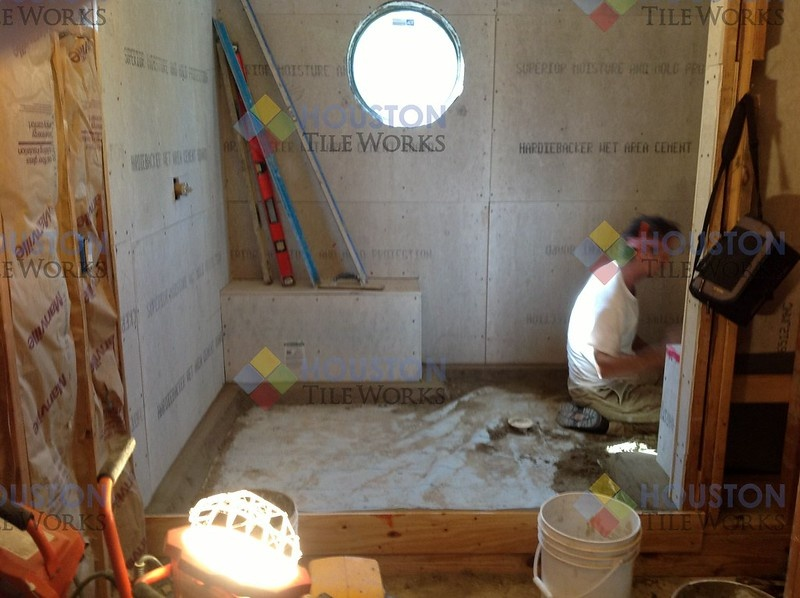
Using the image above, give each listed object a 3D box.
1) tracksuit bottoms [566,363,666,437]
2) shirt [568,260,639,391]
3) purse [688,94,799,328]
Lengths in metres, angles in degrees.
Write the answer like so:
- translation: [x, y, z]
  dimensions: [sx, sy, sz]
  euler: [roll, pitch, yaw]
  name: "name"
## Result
- translation: [1.418, 0.663, 4.556]
  dimensions: [0.389, 0.162, 0.447]
  euler: [3, 37, 9]
  name: "tracksuit bottoms"
- translation: [1.425, 0.141, 4.681]
  dimensions: [0.360, 0.754, 0.716]
  euler: [6, 23, 32]
  name: "shirt"
- translation: [1.570, -0.384, 3.218]
  dimensions: [0.444, 1.025, 0.244]
  euler: [4, 10, 23]
  name: "purse"
